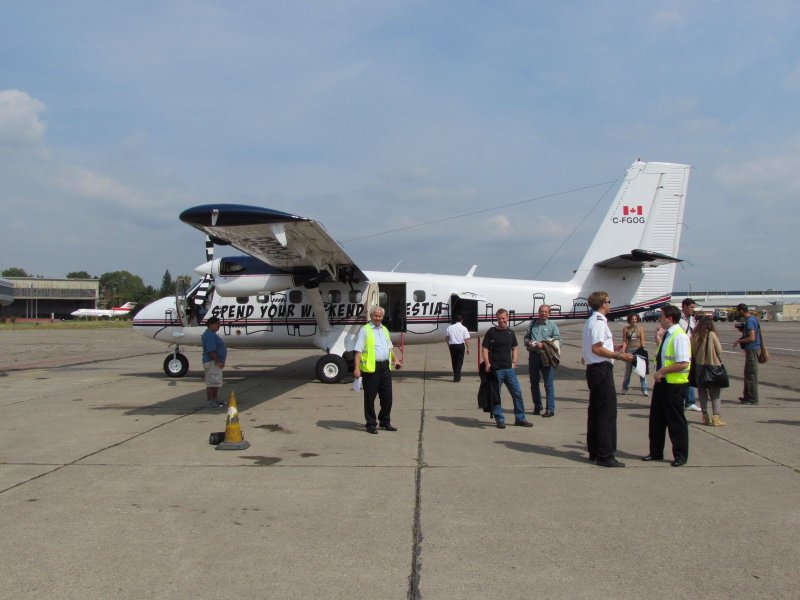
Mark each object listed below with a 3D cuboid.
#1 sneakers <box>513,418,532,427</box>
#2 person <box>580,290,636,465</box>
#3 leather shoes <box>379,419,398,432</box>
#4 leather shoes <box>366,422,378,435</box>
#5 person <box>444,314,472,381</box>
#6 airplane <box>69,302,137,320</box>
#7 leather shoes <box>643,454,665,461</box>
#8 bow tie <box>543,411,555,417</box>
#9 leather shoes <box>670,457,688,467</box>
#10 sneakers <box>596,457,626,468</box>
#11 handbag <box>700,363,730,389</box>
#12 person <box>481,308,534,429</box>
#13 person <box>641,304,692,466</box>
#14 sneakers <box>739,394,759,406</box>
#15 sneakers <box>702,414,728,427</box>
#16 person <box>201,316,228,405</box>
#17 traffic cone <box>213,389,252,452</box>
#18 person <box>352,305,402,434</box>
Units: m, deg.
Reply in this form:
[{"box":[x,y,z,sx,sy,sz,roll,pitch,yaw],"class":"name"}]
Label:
[{"box":[1.986,1.954,10.380,0.356,0.122,0.109,0,7,9],"class":"sneakers"},{"box":[2.691,1.043,8.563,0.551,2.202,0.807,2,11,10],"class":"person"},{"box":[-0.196,1.979,10.174,0.332,0.190,0.111,-2,3,-15],"class":"leather shoes"},{"box":[-0.420,1.976,10.061,0.196,0.140,0.270,-1,9,-7],"class":"leather shoes"},{"box":[1.417,1.218,15.827,0.612,1.644,1.256,0,10,3],"class":"person"},{"box":[-44.469,1.528,99.666,6.492,2.129,16.579,-3,8,-16],"class":"airplane"},{"box":[3.382,2.087,8.642,0.314,0.109,0.097,3,-2,4],"class":"leather shoes"},{"box":[2.525,1.946,11.067,0.185,0.063,0.066,24,-39,-34],"class":"bow tie"},{"box":[3.606,2.074,8.399,0.213,0.126,0.189,2,9,15],"class":"leather shoes"},{"box":[2.768,2.100,8.449,0.443,0.152,0.134,-1,1,5],"class":"sneakers"},{"box":[4.882,1.209,10.098,0.405,0.391,0.219,1,10,9],"class":"handbag"},{"box":[1.748,1.110,10.593,0.779,1.946,1.138,2,10,10],"class":"person"},{"box":[3.555,1.113,8.482,0.515,2.083,0.622,4,11,21],"class":"person"},{"box":[6.531,1.864,12.196,0.153,0.244,0.393,-4,12,-15],"class":"sneakers"},{"box":[5.096,1.935,10.506,0.166,0.179,0.488,-2,-3,42],"class":"sneakers"},{"box":[-3.516,1.168,12.379,0.400,1.742,1.223,-3,10,-16],"class":"person"},{"box":[-2.658,1.940,10.352,0.868,0.968,0.832,0,-10,2],"class":"traffic cone"},{"box":[-0.379,1.089,10.142,0.607,1.887,0.702,-1,11,-3],"class":"person"}]
